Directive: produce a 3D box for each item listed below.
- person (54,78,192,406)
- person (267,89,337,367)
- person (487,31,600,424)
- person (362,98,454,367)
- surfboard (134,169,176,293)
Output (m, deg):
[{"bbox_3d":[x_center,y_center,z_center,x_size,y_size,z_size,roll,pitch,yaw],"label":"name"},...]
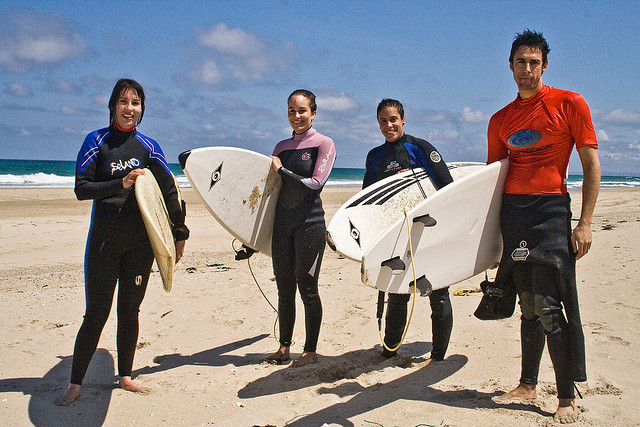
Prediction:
[{"bbox_3d":[-1.789,0.212,4.552,0.624,2.676,1.255,5,17,30],"label":"person"},{"bbox_3d":[-0.193,0.149,5.093,0.778,2.637,0.854,-4,15,1],"label":"person"},{"bbox_3d":[1.824,0.069,4.184,0.814,2.990,1.047,-1,15,12],"label":"person"},{"bbox_3d":[0.886,0.171,5.047,0.883,2.518,0.876,-3,15,4],"label":"person"},{"bbox_3d":[-1.430,0.128,4.514,0.287,0.993,0.683,-8,15,-16],"label":"surfboard"}]
